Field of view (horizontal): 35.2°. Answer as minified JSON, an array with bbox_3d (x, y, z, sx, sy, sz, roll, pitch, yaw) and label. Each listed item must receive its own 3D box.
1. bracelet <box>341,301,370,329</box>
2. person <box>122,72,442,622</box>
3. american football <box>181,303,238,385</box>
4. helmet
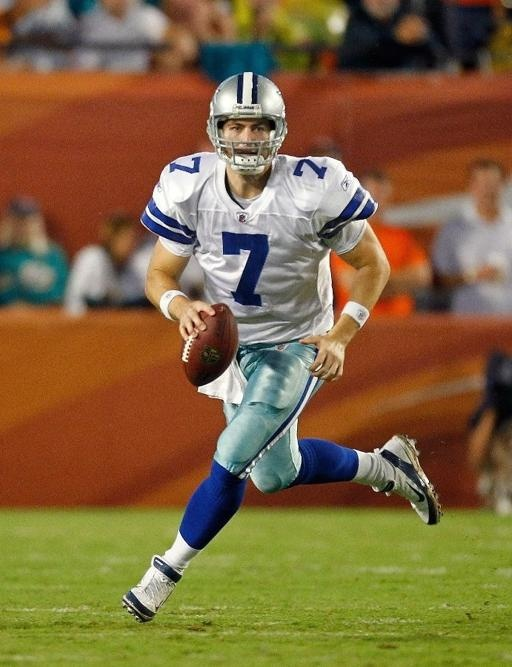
[{"bbox_3d":[0.275,-0.049,2.248,0.083,0.051,0.077,31,6,-6],"label":"bracelet"},{"bbox_3d":[0.041,-0.042,2.129,0.687,1.242,0.637,-3,22,0],"label":"person"},{"bbox_3d":[-0.122,0.039,2.110,0.142,0.196,0.133,25,22,-9],"label":"american football"},{"bbox_3d":[-0.024,-0.554,2.132,0.205,0.256,0.217,-3,20,-1],"label":"helmet"}]
